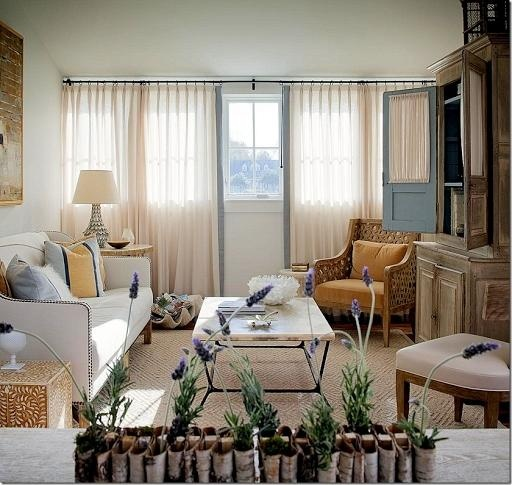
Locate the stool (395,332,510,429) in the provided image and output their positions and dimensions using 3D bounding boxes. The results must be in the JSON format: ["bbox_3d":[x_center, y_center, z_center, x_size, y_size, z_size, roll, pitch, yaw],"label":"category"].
[{"bbox_3d":[0.789,0.566,1.766,0.396,0.360,0.402,1,4,33],"label":"stool"}]

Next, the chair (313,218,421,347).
[{"bbox_3d":[0.893,0.279,3.513,0.666,1.055,0.705,1,-2,34],"label":"chair"}]
